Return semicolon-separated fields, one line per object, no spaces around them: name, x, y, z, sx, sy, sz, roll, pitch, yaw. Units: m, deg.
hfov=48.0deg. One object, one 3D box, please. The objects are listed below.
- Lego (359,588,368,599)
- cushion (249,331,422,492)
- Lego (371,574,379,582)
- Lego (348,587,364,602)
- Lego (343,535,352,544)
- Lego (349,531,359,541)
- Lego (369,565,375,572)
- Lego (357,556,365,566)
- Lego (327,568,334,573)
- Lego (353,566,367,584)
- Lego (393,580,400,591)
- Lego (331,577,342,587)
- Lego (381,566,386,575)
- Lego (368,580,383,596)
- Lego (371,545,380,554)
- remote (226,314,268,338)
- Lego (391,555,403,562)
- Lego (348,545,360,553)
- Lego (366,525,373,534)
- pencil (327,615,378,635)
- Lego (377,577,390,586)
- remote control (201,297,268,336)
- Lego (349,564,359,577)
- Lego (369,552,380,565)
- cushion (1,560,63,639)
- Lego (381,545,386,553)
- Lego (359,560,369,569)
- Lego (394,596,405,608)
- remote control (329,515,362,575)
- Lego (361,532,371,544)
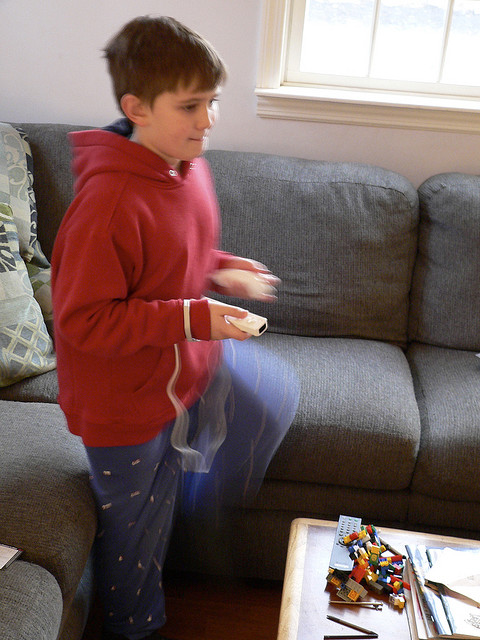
Lego;0.207;0.453;0.895;0.004;0.015;0.015;30;63;25
cushion;0.242;0.257;1.613;0.572;0.374;0.453;2;23;4
Lego;0.230;0.433;0.907;0.010;0.002;0.010;-27;22;45
Lego;0.194;0.453;0.894;0.024;0.019;0.013;6;18;8
Lego;0.198;0.400;0.985;0.010;0.011;0.003;-14;-32;21
Lego;0.211;0.393;0.986;0.013;0.012;0.010;-23;10;-3
Lego;0.227;0.424;0.920;0.006;0.008;0.011;17;23;36
Lego;0.208;0.409;0.919;0.003;0.012;0.011;-23;62;-27
Lego;0.157;0.428;0.924;0.007;0.006;0.002;7;8;42
Lego;0.203;0.424;0.903;0.022;0.022;0.007;40;20;9
Lego;0.265;0.444;0.906;0.012;0.009;0.010;-12;24;-39
Lego;0.164;0.443;0.914;0.016;0.010;0.004;40;3;12
Lego;0.246;0.425;0.918;0.007;0.012;0.009;-6;-15;19
Lego;0.232;0.450;0.910;0.009;0.020;0.021;-31;47;-28
Lego;0.240;0.401;0.945;0.014;0.010;0.008;12;41;7
remote;0.015;0.006;0.826;0.063;0.025;0.044;18;23;36
Lego;0.280;0.421;0.955;0.010;0.011;0.013;-22;-10;-4
Lego;0.203;0.404;0.957;0.012;0.009;0.012;-29;-6;-39
Lego;0.246;0.392;1.012;0.005;0.014;0.006;-11;-12;7
pencil;0.177;0.479;0.848;0.056;0.004;0.005;11;18;26
Lego;0.244;0.439;0.908;0.020;0.011;0.005;9;-3;7
remote control;0.000;-0.009;0.839;0.094;0.049;0.073;11;20;22
Lego;0.193;0.423;0.913;0.005;0.005;0.018;18;57;29
Lego;0.234;0.411;0.929;0.011;0.004;0.015;4;46;17
cushion;-0.332;0.453;0.848;0.087;0.079;0.155;-2;19;-17
Lego;0.260;0.410;0.970;0.003;0.010;0.011;-5;11;24
Lego;0.211;0.411;0.910;0.009;0.002;0.009;-33;42;-26
Lego;0.263;0.459;0.880;0.015;0.015;0.016;8;28;10
remote control;0.191;0.408;0.987;0.058;0.040;0.112;0;24;4
Lego;0.230;0.395;0.977;0.021;0.012;0.011;-4;-11;-4
